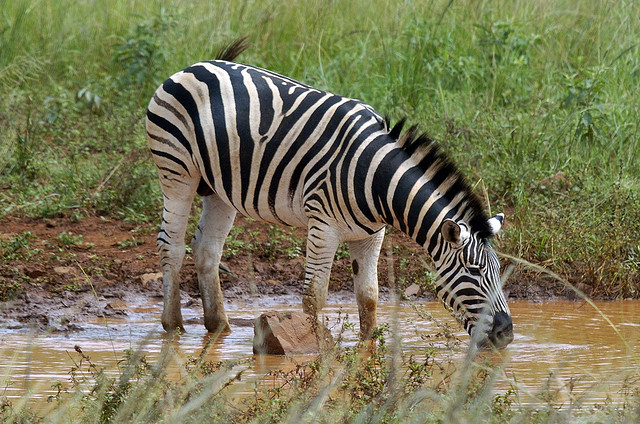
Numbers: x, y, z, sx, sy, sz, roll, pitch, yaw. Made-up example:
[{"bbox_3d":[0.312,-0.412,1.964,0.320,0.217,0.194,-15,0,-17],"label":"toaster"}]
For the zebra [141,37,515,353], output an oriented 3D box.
[{"bbox_3d":[-0.117,0.108,8.403,4.028,2.783,1.240,11,10,24],"label":"zebra"}]
